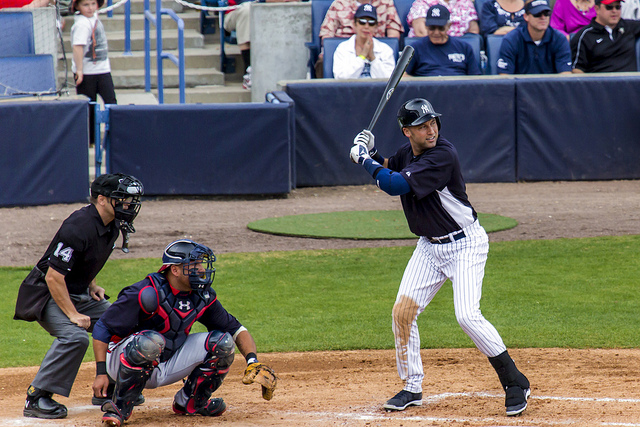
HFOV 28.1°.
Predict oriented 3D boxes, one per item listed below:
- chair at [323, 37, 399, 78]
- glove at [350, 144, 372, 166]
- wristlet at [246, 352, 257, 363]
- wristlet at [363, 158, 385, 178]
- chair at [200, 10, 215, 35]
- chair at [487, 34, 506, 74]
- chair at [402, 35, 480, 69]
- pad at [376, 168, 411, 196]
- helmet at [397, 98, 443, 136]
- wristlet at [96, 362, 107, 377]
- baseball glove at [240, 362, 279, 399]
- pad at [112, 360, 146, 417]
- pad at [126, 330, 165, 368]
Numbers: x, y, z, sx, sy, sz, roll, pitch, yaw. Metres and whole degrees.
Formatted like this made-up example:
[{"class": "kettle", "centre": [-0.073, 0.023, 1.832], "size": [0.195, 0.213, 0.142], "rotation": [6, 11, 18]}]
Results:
[{"class": "chair", "centre": [0.535, -2.687, 21.218], "size": [1.198, 0.882, 0.664], "rotation": [-1, 5, -1]}, {"class": "glove", "centre": [0.495, -0.709, 15.130], "size": [0.249, 0.229, 0.332], "rotation": [-2, 9, 1]}, {"class": "wristlet", "centre": [-0.776, 1.640, 14.576], "size": [0.085, 0.085, 0.087], "rotation": [3, -4, -10]}, {"class": "wristlet", "centre": [0.616, -0.535, 14.897], "size": [0.158, 0.071, 0.196], "rotation": [13, 14, -38]}, {"class": "chair", "centre": [-2.148, -3.610, 24.184], "size": [0.156, 0.431, 0.357], "rotation": [5, 11, 41]}, {"class": "chair", "centre": [2.954, -2.689, 21.467], "size": [0.253, 0.646, 0.393], "rotation": [1, 9, 19]}, {"class": "chair", "centre": [2.063, -2.702, 21.570], "size": [1.291, 0.705, 0.407], "rotation": [0, 13, 2]}, {"class": "pad", "centre": [0.863, -0.374, 14.714], "size": [0.408, 0.308, 0.214], "rotation": [0, 9, 15]}, {"class": "helmet", "centre": [1.148, -1.120, 14.817], "size": [0.563, 0.460, 0.439], "rotation": [1, 20, 43]}, {"class": "wristlet", "centre": [-2.448, 1.742, 14.334], "size": [0.146, 0.184, 0.122], "rotation": [0, -4, 0]}, {"class": "baseball glove", "centre": [-0.679, 1.910, 14.544], "size": [0.381, 0.435, 0.206], "rotation": [-3, 8, -6]}, {"class": "pad", "centre": [-2.171, 1.974, 14.442], "size": [0.508, 0.574, 0.450], "rotation": [2, -5, 4]}, {"class": "pad", "centre": [-1.962, 1.522, 14.387], "size": [0.438, 0.399, 0.183], "rotation": [-4, 9, -11]}]
